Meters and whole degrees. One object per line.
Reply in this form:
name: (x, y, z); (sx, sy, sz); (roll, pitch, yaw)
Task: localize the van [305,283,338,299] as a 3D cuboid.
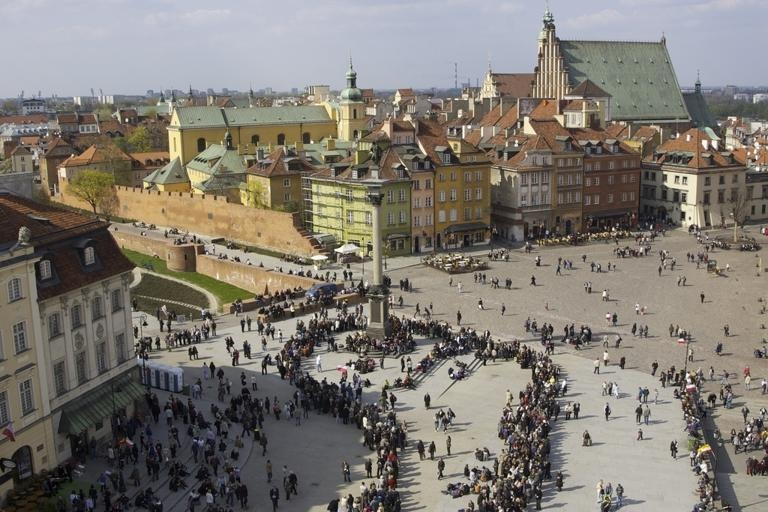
van: (-7.236, 4.186, 131.079); (3.726, 1.538, 2.473); (-6, 7, -23)
